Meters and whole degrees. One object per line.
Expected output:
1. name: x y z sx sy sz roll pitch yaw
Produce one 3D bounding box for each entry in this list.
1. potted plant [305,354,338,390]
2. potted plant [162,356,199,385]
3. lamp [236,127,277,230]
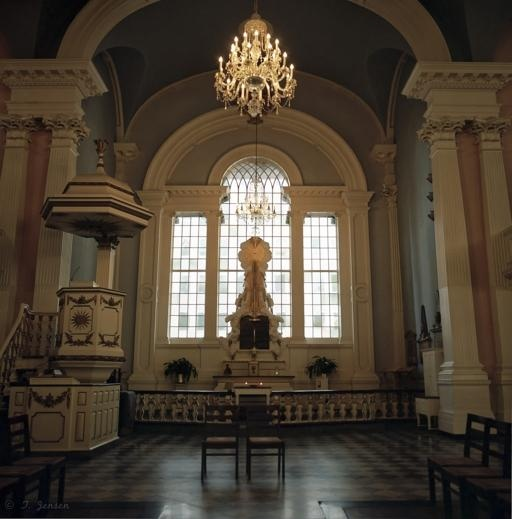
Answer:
1. potted plant: 1.810 3.087 12.767 0.846 0.871 0.645 -1 -11 4
2. potted plant: -2.095 2.994 12.753 0.649 0.520 0.702 3 -8 1
3. lamp: 0.008 -2.535 13.889 1.105 3.652 2.069 -1 -11 1
